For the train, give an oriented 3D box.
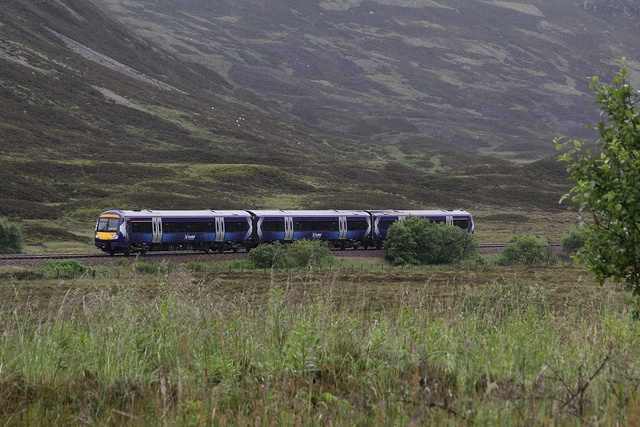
[{"bbox_3d":[-2.353,1.619,46.077,28.405,3.227,3.268,3,-5,-39],"label":"train"}]
